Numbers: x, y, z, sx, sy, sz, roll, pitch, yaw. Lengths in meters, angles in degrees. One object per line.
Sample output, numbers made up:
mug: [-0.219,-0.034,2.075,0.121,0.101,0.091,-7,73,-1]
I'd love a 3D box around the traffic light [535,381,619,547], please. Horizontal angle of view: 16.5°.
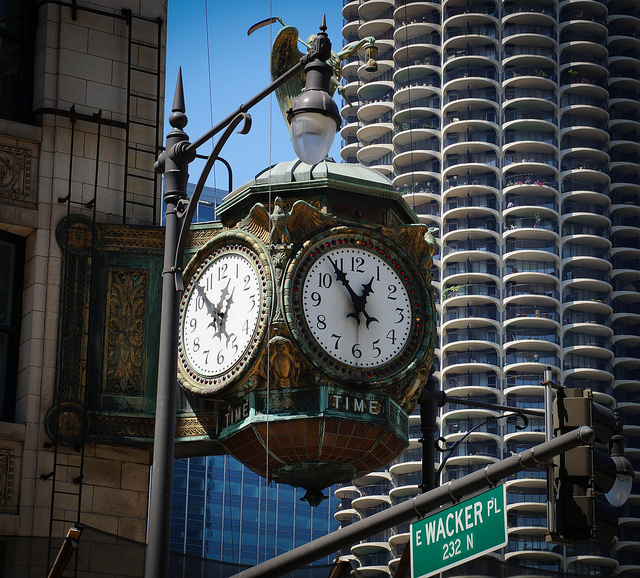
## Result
traffic light: [5.289,3.654,44.476,0.710,4.043,1.025,0,-24,-6]
